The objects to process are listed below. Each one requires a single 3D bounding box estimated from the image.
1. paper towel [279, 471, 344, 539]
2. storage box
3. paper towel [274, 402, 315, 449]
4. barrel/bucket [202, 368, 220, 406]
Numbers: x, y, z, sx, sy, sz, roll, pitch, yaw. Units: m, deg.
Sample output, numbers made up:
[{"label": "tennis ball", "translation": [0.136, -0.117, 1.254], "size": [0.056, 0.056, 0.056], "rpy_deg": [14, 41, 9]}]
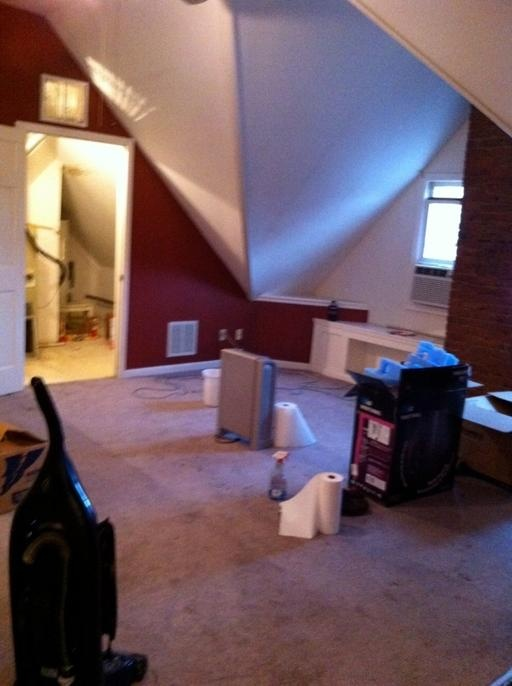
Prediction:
[{"label": "paper towel", "translation": [0.285, 0.821, 2.786], "size": [0.370, 0.344, 0.229], "rpy_deg": [2, 4, 5]}, {"label": "storage box", "translation": [0.902, 0.469, 3.456], "size": [0.916, 1.121, 0.592], "rpy_deg": [-2, 11, -24]}, {"label": "paper towel", "translation": [0.278, 0.607, 3.998], "size": [0.312, 0.221, 0.284], "rpy_deg": [-3, 6, 33]}, {"label": "barrel/bucket", "translation": [-0.405, 0.390, 4.719], "size": [0.132, 0.328, 0.356], "rpy_deg": [3, 9, -9]}]
